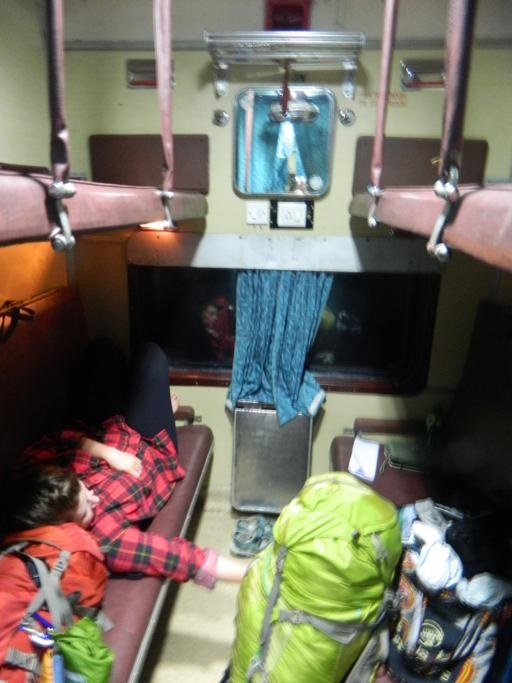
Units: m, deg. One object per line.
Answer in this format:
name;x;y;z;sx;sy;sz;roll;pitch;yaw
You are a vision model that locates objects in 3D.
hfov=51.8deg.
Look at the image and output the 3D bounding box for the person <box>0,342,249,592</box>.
person;-0.509;0.365;2.251;0.767;0.409;0.965;17;18;10
